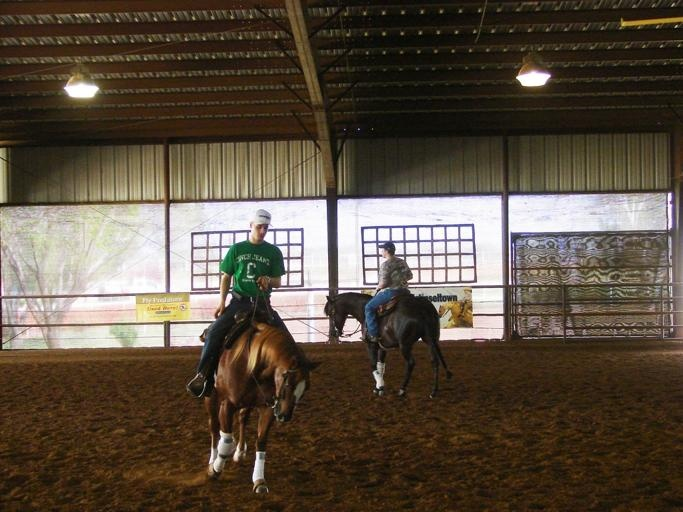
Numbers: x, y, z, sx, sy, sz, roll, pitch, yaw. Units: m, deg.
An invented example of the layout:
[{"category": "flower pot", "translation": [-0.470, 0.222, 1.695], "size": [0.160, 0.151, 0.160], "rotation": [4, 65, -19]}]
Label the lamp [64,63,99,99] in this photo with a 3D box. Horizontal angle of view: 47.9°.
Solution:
[{"category": "lamp", "translation": [-4.803, -3.260, 14.134], "size": [0.543, 0.572, 0.410], "rotation": [-5, 11, -17]}]

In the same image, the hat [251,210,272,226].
[{"category": "hat", "translation": [-1.037, -0.516, 10.021], "size": [0.193, 0.140, 0.282], "rotation": [9, 4, -14]}]

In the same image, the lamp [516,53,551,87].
[{"category": "lamp", "translation": [3.462, -3.489, 14.002], "size": [0.668, 0.575, 0.693], "rotation": [3, 15, 32]}]

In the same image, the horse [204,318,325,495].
[{"category": "horse", "translation": [-1.047, 1.898, 9.617], "size": [1.408, 2.059, 0.601], "rotation": [5, 13, 28]}]

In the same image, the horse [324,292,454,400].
[{"category": "horse", "translation": [0.786, 1.512, 13.392], "size": [0.784, 1.856, 3.119], "rotation": [10, -12, -39]}]
